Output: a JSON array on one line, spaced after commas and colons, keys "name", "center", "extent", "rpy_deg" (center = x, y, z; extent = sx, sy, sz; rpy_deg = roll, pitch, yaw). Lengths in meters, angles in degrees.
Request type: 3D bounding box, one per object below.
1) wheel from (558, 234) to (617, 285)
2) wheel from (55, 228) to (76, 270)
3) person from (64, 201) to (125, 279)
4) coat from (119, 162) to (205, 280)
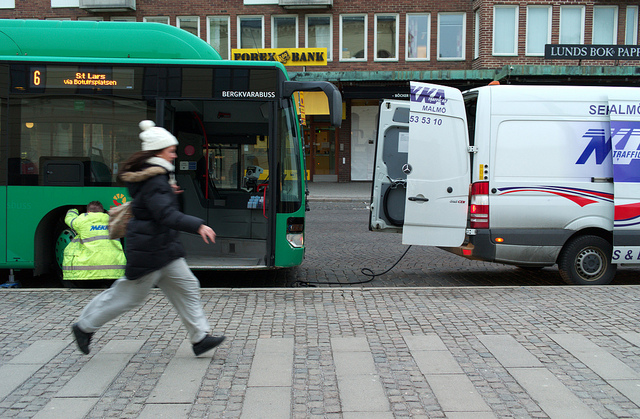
[{"name": "wheel", "center": [4.373, 0.810, 9.778], "extent": [0.911, 0.796, 0.299], "rpy_deg": [-1, 7, -5]}, {"name": "wheel", "center": [-4.220, 0.596, 9.812], "extent": [0.140, 0.543, 0.597], "rpy_deg": [2, 9, -42]}, {"name": "person", "center": [-3.578, 0.465, 9.682], "extent": [0.955, 1.151, 0.889], "rpy_deg": [-5, 4, -43]}, {"name": "coat", "center": [-1.805, 0.145, 6.654], "extent": [0.857, 1.291, 0.436], "rpy_deg": [0, 14, -2]}]
